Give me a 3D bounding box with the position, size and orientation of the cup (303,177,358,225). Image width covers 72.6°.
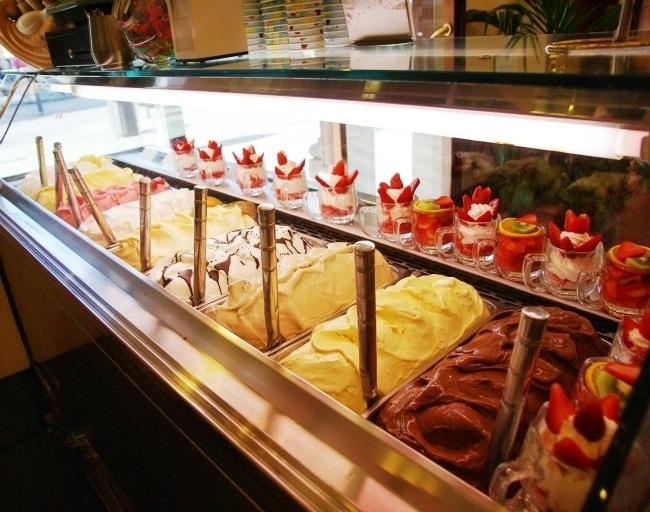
[{"bbox_3d":[0.007,-0.217,1.736,0.226,0.161,0.155,-6,33,-6],"label":"cup"}]

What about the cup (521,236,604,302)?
[{"bbox_3d":[0.616,0.043,1.190,0.217,0.151,0.152,-1,10,-21],"label":"cup"}]

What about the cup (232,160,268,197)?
[{"bbox_3d":[-0.349,-0.363,2.108,0.148,0.145,0.145,-3,21,1],"label":"cup"}]

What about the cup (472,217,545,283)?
[{"bbox_3d":[0.520,-0.017,1.303,0.210,0.160,0.124,-8,27,1],"label":"cup"}]

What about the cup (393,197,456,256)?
[{"bbox_3d":[0.317,-0.092,1.485,0.199,0.148,0.119,-1,15,16],"label":"cup"}]

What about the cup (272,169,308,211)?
[{"bbox_3d":[-0.150,-0.297,1.956,0.171,0.167,0.169,1,21,0],"label":"cup"}]

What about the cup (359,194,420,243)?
[{"bbox_3d":[0.211,-0.133,1.590,0.195,0.138,0.116,2,20,23],"label":"cup"}]

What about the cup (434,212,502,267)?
[{"bbox_3d":[0.410,-0.046,1.380,0.172,0.125,0.107,0,24,-18],"label":"cup"}]
